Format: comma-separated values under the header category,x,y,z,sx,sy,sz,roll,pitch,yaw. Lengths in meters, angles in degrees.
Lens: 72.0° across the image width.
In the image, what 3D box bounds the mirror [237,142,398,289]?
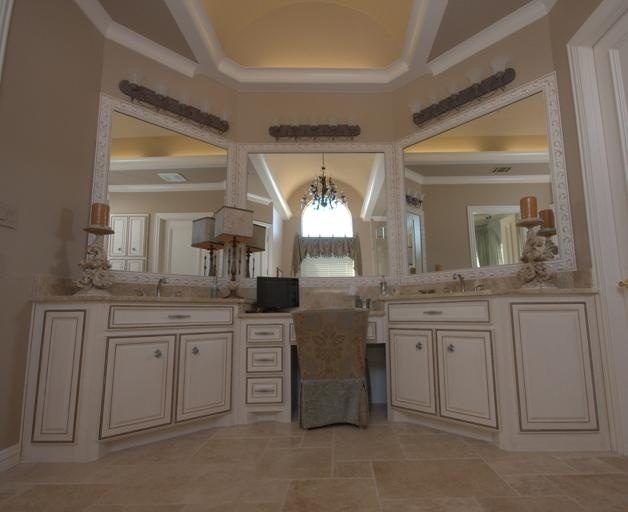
category,x,y,z,sx,sy,sz,roll,pitch,yaw
mirror,0.037,-0.341,4.197,1.354,1.212,0.103,0,-5,-1

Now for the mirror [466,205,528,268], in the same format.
category,x,y,z,sx,sy,sz,roll,pitch,yaw
mirror,1.517,-0.159,3.538,0.503,0.698,0.047,0,-3,38

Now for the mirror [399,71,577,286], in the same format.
category,x,y,z,sx,sy,sz,roll,pitch,yaw
mirror,1.488,-0.619,3.600,0.072,1.984,1.884,0,-1,-37

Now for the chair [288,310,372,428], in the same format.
category,x,y,z,sx,sy,sz,roll,pitch,yaw
chair,0.128,0.829,3.536,0.758,1.254,0.788,-1,1,1

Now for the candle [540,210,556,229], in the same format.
category,x,y,z,sx,sy,sz,roll,pitch,yaw
candle,1.763,-0.289,3.269,0.093,0.150,0.046,-3,-4,30

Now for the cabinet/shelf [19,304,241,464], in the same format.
category,x,y,z,sx,sy,sz,roll,pitch,yaw
cabinet/shelf,-1.284,0.863,2.893,0.920,0.625,0.334,5,-10,-45

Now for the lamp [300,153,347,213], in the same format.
category,x,y,z,sx,sy,sz,roll,pitch,yaw
lamp,0.093,-0.739,4.280,0.445,0.569,0.105,-1,-3,-2

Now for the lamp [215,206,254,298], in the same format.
category,x,y,z,sx,sy,sz,roll,pitch,yaw
lamp,-0.725,-0.054,4.110,0.371,0.847,0.343,6,1,-12

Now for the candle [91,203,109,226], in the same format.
category,x,y,z,sx,sy,sz,roll,pitch,yaw
candle,-1.549,-0.300,3.128,0.117,0.170,0.096,1,-4,-28

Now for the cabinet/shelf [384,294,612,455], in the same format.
category,x,y,z,sx,sy,sz,roll,pitch,yaw
cabinet/shelf,1.222,0.749,3.038,1.380,1.013,0.354,-3,-4,36

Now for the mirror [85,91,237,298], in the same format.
category,x,y,z,sx,sy,sz,roll,pitch,yaw
mirror,-1.348,-0.493,3.700,0.091,1.196,1.784,-5,-8,38
